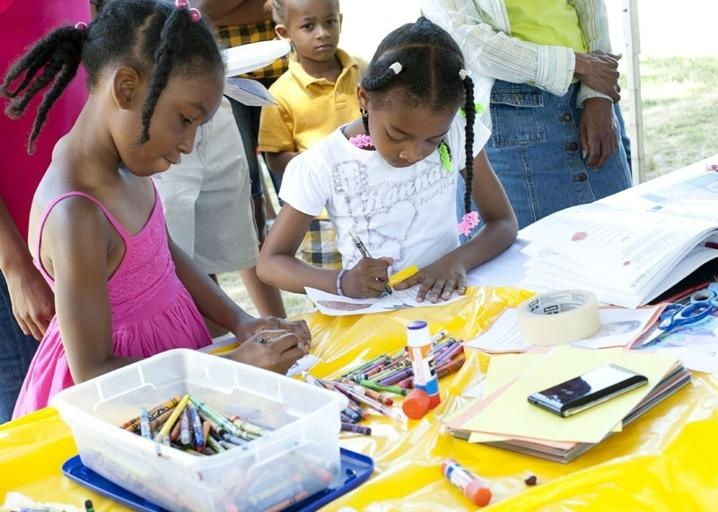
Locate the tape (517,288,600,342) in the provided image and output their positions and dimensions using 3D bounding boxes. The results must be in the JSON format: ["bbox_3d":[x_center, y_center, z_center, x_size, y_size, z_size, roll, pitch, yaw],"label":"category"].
[{"bbox_3d":[0.489,0.144,1.469,0.190,0.072,0.189,-20,14,-25],"label":"tape"}]
